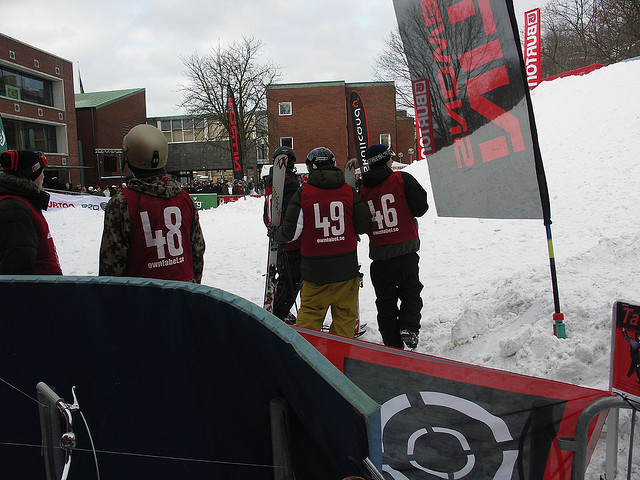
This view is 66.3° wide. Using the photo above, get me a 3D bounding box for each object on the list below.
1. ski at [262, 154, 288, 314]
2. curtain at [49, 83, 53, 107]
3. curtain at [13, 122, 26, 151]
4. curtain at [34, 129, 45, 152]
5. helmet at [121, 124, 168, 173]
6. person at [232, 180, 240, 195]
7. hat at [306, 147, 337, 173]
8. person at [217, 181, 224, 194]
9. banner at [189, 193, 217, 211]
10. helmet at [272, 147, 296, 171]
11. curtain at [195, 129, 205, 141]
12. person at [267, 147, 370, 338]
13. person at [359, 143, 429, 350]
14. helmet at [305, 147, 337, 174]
[{"bbox_3d":[-0.496,-0.084,5.508,0.207,2.301,0.165,8,-6,-34],"label":"ski"},{"bbox_3d":[-18.604,-9.859,33.786,0.164,1.235,0.300,-5,4,-28],"label":"curtain"},{"bbox_3d":[-19.400,-6.606,31.567,0.354,1.544,1.042,-4,4,-5],"label":"curtain"},{"bbox_3d":[-19.026,-6.649,33.138,0.485,1.259,0.620,-4,3,-7],"label":"curtain"},{"bbox_3d":[-1.254,-0.645,3.565,0.292,0.394,0.387,-3,44,-27],"label":"helmet"},{"bbox_3d":[-4.882,-2.960,28.324,0.374,0.779,1.467,-5,4,-14],"label":"person"},{"bbox_3d":[0.005,-0.759,4.715,0.274,0.246,0.340,-4,4,-2],"label":"hat"},{"bbox_3d":[-6.131,-3.118,30.199,0.378,0.729,1.027,-4,4,-8],"label":"person"},{"bbox_3d":[-5.089,-1.648,21.710,1.038,0.697,0.990,-5,4,-8],"label":"banner"},{"bbox_3d":[-0.400,-0.921,5.645,0.269,0.300,0.226,0,11,-24],"label":"helmet"},{"bbox_3d":[-11.440,-9.687,46.391,0.294,1.198,1.158,8,-2,-21],"label":"curtain"},{"bbox_3d":[0.042,0.176,4.854,0.866,2.217,0.633,-3,18,-8],"label":"person"},{"bbox_3d":[0.790,0.100,5.058,0.688,2.162,0.497,-3,3,4],"label":"person"},{"bbox_3d":[0.003,-0.774,4.809,0.207,0.260,0.269,-5,26,-3],"label":"helmet"}]
